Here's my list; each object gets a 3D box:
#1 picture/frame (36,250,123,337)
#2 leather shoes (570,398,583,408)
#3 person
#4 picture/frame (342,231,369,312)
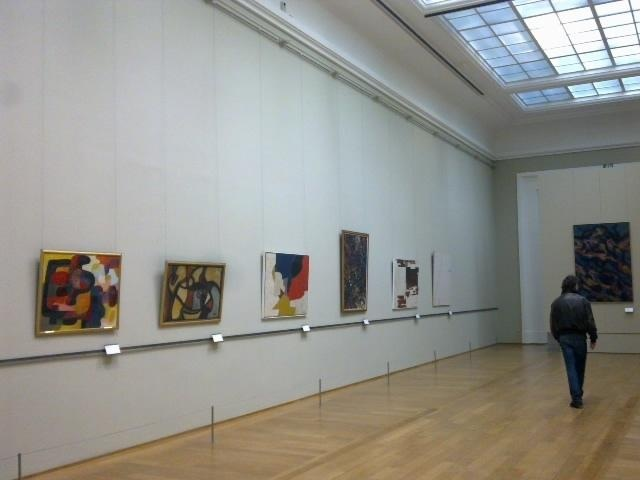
[{"bbox_3d":[-4.106,0.897,7.815,0.166,1.361,1.317,-2,-5,34],"label":"picture/frame"},{"bbox_3d":[6.143,3.915,11.214,0.268,0.193,0.352,-2,-4,30],"label":"leather shoes"},{"bbox_3d":[6.356,2.511,11.731,0.998,3.155,1.193,-2,-3,30],"label":"person"},{"bbox_3d":[1.014,0.977,14.203,0.118,3.244,2.150,-2,-4,27],"label":"picture/frame"}]
